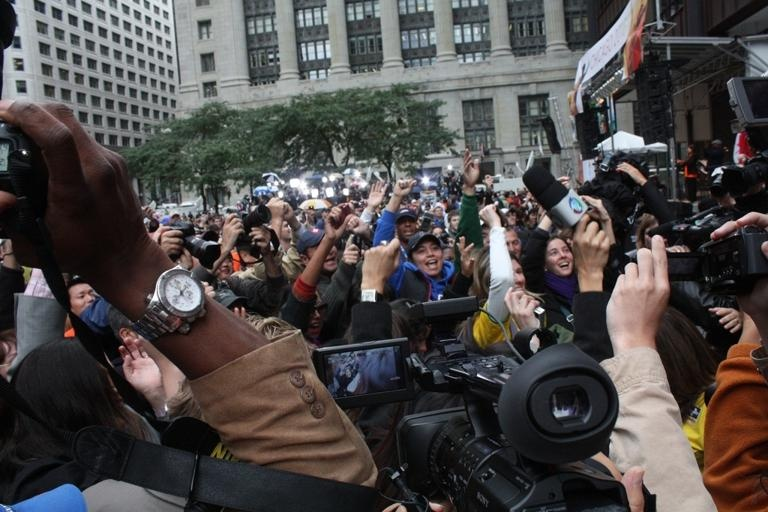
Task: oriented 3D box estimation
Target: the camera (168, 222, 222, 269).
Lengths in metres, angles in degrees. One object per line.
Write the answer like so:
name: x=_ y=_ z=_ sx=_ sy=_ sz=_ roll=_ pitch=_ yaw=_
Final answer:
camera: x=-1.163 y=-0.059 z=3.575 sx=0.245 sy=0.157 sz=0.385 roll=-5 pitch=25 yaw=-41
